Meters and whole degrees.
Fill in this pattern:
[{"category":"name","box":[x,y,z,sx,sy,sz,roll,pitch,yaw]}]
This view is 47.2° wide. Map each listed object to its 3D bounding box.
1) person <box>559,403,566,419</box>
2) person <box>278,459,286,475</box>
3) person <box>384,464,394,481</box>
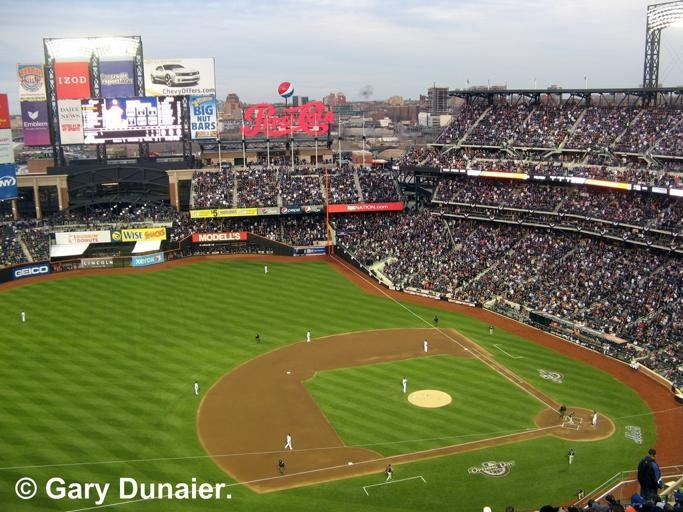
[{"category":"person","box":[16.438,11.337,57.903,0.532,0.928,1.404,2,14,15]},{"category":"person","box":[-4.139,14.238,52.996,0.597,0.575,0.922,2,9,-9]},{"category":"person","box":[3.156,14.361,52.230,0.544,0.937,0.964,-1,13,3]}]
